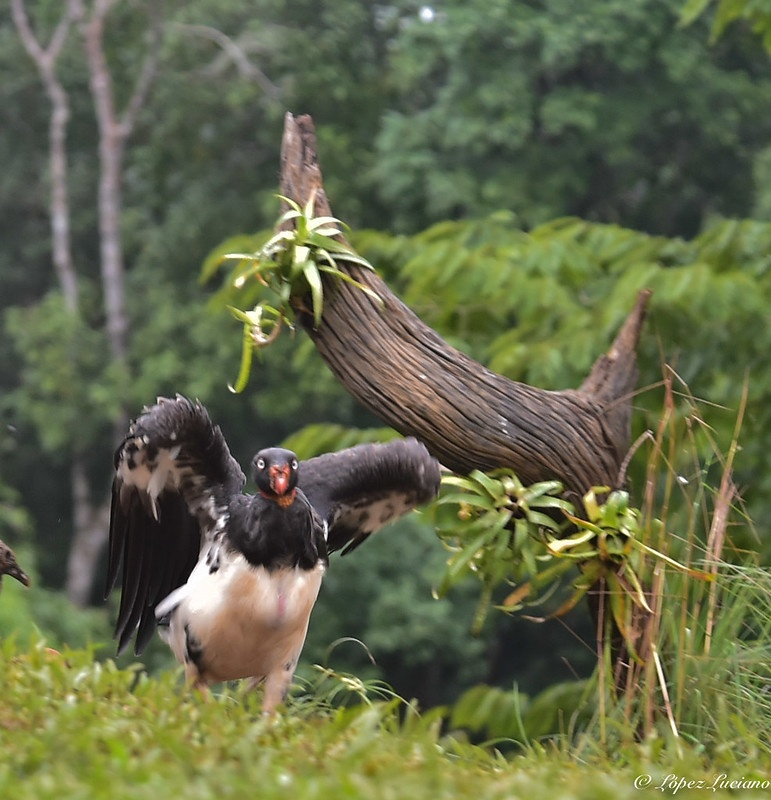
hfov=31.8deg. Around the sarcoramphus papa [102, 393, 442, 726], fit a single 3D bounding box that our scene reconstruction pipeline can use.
[{"bbox_3d":[-0.389,0.412,4.275,0.810,0.926,0.773,20,21,29],"label":"sarcoramphus papa"}]
